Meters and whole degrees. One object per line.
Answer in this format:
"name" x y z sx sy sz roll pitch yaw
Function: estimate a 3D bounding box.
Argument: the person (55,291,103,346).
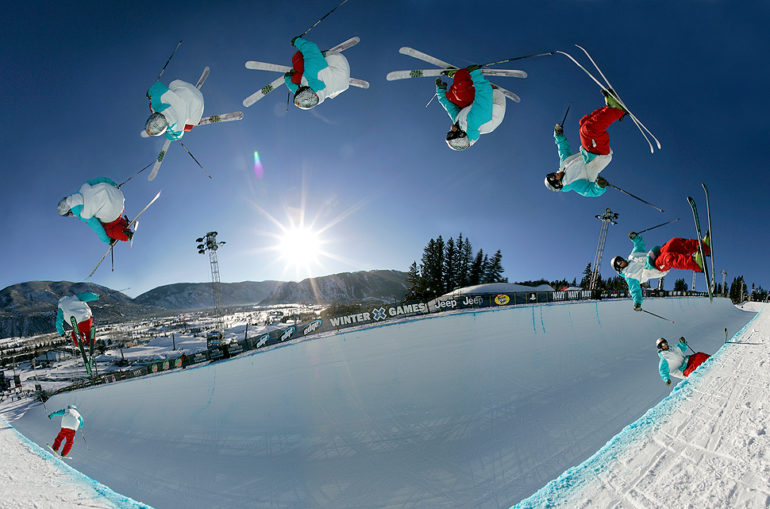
"person" -12.264 2.810 16.741 1.339 2.371 0.633 -5 -13 -17
